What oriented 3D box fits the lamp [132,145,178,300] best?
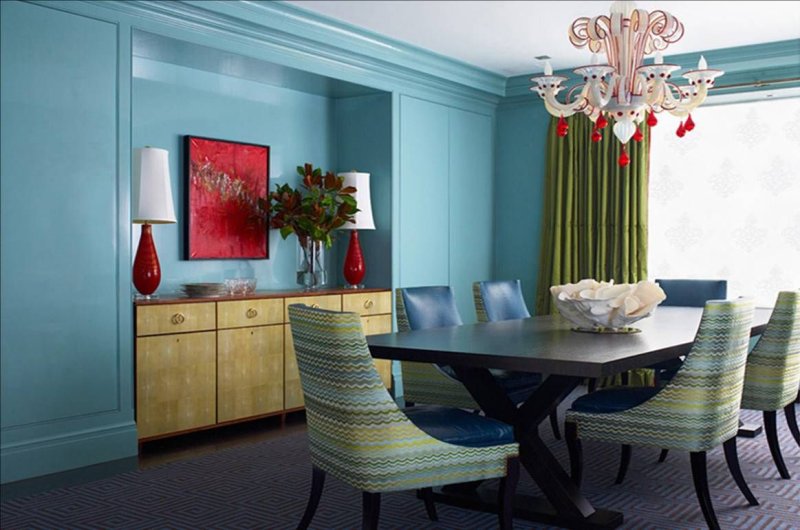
[{"bbox_3d":[-1.740,-0.289,4.056,0.322,1.014,0.487,-6,6,-21],"label":"lamp"}]

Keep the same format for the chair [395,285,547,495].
[{"bbox_3d":[0.372,0.526,3.991,0.970,1.064,0.802,-3,-4,28],"label":"chair"}]

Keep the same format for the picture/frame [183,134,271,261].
[{"bbox_3d":[-1.404,-0.529,4.746,0.165,1.001,0.802,0,7,38],"label":"picture/frame"}]

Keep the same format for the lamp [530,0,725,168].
[{"bbox_3d":[1.705,-1.311,4.119,1.035,1.249,1.869,-1,6,30],"label":"lamp"}]

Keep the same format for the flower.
[{"bbox_3d":[-0.750,-0.351,5.286,1.081,0.961,0.935,0,-2,-13],"label":"flower"}]

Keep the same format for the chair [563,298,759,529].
[{"bbox_3d":[1.700,0.677,3.369,1.255,1.393,1.067,0,-4,35],"label":"chair"}]

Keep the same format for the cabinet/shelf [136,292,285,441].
[{"bbox_3d":[-1.346,0.699,4.030,0.340,0.607,1.199,-5,-5,37],"label":"cabinet/shelf"}]

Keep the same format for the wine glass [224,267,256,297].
[{"bbox_3d":[-1.254,0.136,4.579,0.273,0.222,0.257,2,-5,-32],"label":"wine glass"}]
